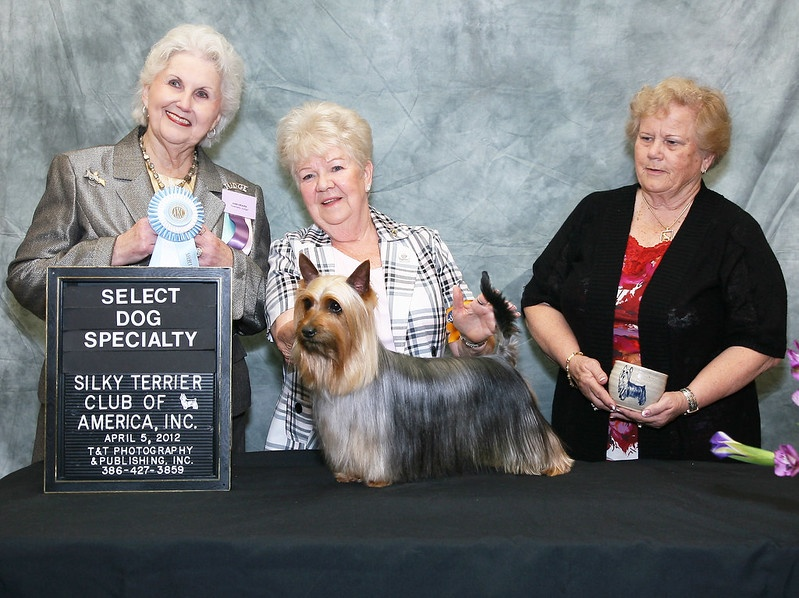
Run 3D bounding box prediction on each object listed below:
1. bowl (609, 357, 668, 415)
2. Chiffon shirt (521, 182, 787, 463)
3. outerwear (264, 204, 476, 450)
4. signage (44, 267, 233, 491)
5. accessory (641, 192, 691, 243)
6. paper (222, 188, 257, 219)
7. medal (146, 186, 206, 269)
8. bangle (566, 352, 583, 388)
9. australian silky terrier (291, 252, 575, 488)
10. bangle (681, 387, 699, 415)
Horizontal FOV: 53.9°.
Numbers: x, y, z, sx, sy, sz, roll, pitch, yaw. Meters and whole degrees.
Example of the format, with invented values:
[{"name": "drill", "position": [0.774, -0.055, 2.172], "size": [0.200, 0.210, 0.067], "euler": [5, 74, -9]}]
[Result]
[{"name": "bowl", "position": [1.069, 0.403, 3.534], "size": [0.275, 0.204, 0.262], "euler": [13, 2, -1]}, {"name": "Chiffon shirt", "position": [1.322, 0.069, 4.201], "size": [1.383, 1.354, 0.799], "euler": [10, 19, 43]}, {"name": "outerwear", "position": [-0.187, 0.211, 4.031], "size": [1.119, 1.247, 0.887], "euler": [-1, 8, -14]}, {"name": "signage", "position": [-1.053, 0.344, 3.081], "size": [0.880, 1.010, 0.083], "euler": [-1, -4, -4]}, {"name": "accessory", "position": [1.376, -0.416, 4.026], "size": [0.277, 0.322, 0.034], "euler": [0, 3, 7]}, {"name": "paper", "position": [-0.829, -0.480, 3.977], "size": [0.146, 0.101, 0.014], "euler": [15, -21, -20]}, {"name": "medal", "position": [-0.978, -0.301, 3.368], "size": [0.230, 0.336, 0.168], "euler": [-3, 14, -5]}, {"name": "bangle", "position": [0.859, 0.361, 3.966], "size": [0.138, 0.169, 0.051], "euler": [-10, 11, -39]}, {"name": "australian silky terrier", "position": [0.112, 0.319, 3.440], "size": [1.246, 0.948, 0.478], "euler": [5, -5, -26]}, {"name": "bangle", "position": [1.349, 0.479, 3.668], "size": [0.066, 0.113, 0.086], "euler": [11, 19, 43]}]
